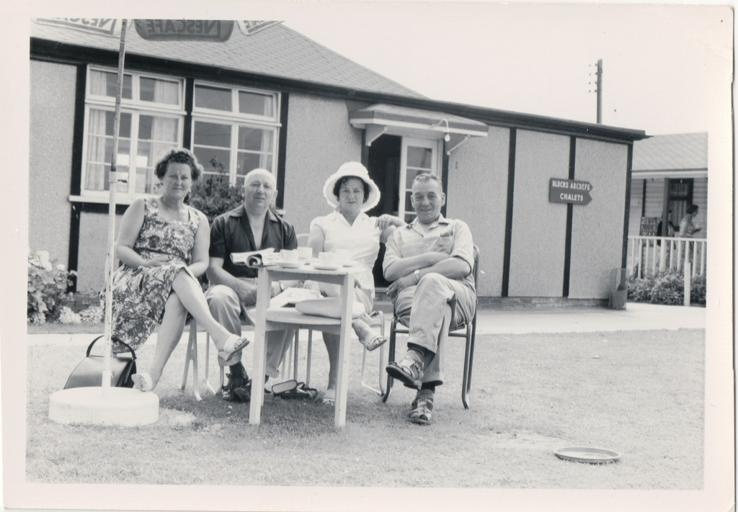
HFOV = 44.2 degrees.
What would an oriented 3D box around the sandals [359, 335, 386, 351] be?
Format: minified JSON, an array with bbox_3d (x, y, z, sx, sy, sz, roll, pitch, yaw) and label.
[{"bbox_3d":[0.010,0.732,7.614,0.114,0.099,0.206,-10,-1,-20],"label":"sandals"}]

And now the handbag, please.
[{"bbox_3d":[-2.185,0.870,7.670,0.375,0.598,0.558,2,-2,11],"label":"handbag"}]

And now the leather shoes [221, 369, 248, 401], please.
[{"bbox_3d":[-1.161,1.128,7.832,0.193,0.296,0.275,4,-12,-17],"label":"leather shoes"}]

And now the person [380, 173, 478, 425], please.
[{"bbox_3d":[0.519,0.327,7.890,0.835,2.011,1.216,3,9,1],"label":"person"}]

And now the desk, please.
[{"bbox_3d":[-0.557,0.649,7.569,0.691,1.158,0.947,1,-3,-13],"label":"desk"}]

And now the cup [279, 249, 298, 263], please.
[{"bbox_3d":[-0.648,-0.005,7.354,0.094,0.077,0.098,0,6,0],"label":"cup"}]

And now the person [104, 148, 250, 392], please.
[{"bbox_3d":[-1.700,0.174,7.765,0.979,2.138,1.236,-1,10,-22],"label":"person"}]

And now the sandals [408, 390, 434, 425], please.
[{"bbox_3d":[0.460,1.254,7.717,0.160,0.224,0.487,7,18,6],"label":"sandals"}]

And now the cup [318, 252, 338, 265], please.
[{"bbox_3d":[-0.324,0.020,7.410,0.105,0.084,0.108,1,10,0],"label":"cup"}]

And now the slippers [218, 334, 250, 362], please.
[{"bbox_3d":[-1.099,0.740,7.319,0.281,0.117,0.150,-34,3,40],"label":"slippers"}]

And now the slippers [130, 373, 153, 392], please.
[{"bbox_3d":[-1.856,1.034,7.394,0.126,0.127,0.074,7,17,35],"label":"slippers"}]
